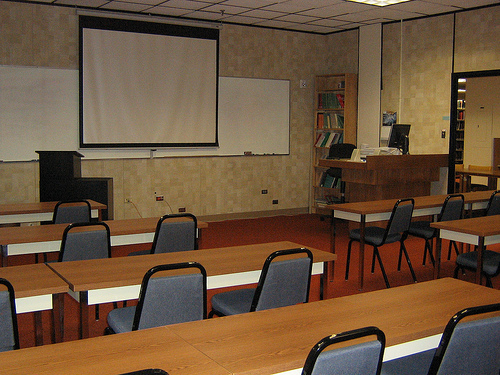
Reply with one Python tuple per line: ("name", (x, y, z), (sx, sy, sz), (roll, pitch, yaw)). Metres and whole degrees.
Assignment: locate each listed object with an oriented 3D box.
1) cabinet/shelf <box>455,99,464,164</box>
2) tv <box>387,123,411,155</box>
("cabinet/shelf", (6.129, -1.766, 12.076), (0.160, 1.851, 0.352), (-3, 10, 2))
("tv", (2.838, -0.917, 7.798), (0.569, 0.533, 0.293), (-7, 12, -37))
